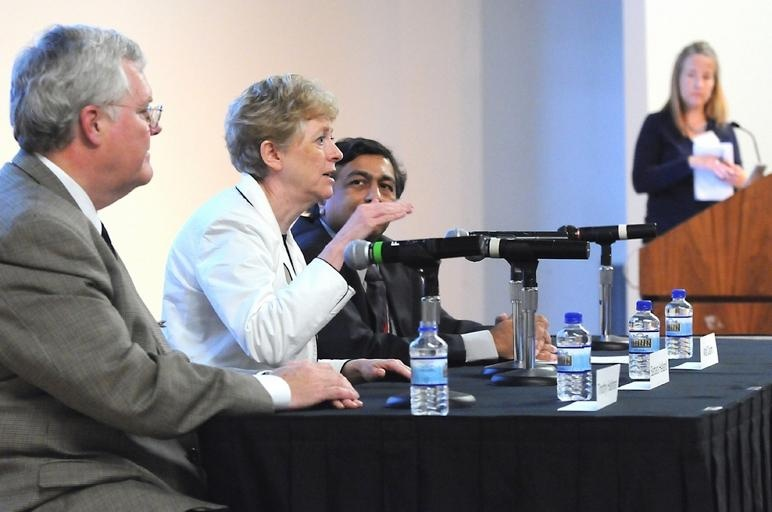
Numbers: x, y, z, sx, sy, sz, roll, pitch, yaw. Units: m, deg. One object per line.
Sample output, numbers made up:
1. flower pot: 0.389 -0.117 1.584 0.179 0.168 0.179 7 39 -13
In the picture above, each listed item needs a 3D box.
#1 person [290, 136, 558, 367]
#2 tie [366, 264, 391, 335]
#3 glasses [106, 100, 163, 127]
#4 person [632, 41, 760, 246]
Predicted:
1. person: 0.069 0.011 3.337 1.128 0.774 0.755 -9 -5 19
2. tie: -0.028 0.171 3.321 0.076 0.214 0.161 -14 -21 4
3. glasses: -0.713 -0.413 2.358 0.114 0.033 0.104 1 3 1
4. person: 1.657 -0.663 4.643 0.553 1.019 0.551 -2 9 16
